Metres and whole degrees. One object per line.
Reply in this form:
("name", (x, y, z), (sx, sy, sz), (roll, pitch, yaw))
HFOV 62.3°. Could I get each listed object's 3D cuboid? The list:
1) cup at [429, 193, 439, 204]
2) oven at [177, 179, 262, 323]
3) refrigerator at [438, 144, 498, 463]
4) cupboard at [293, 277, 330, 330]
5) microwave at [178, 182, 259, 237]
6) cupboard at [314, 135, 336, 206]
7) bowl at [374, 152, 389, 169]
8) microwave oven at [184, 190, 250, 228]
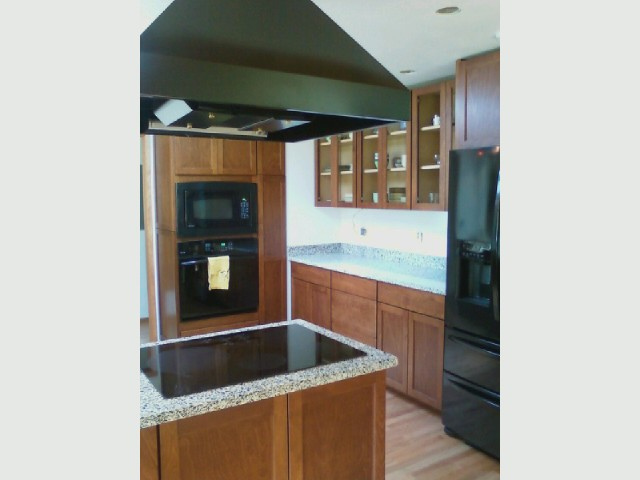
("cup", (0.719, -0.262, 3.319), (0.028, 0.066, 0.125), (-1, 5, -6))
("oven", (-0.769, 0.010, 4.038), (0.490, 1.070, 0.491), (-3, 9, -28))
("refrigerator", (0.755, 0.285, 2.653), (0.168, 1.486, 0.502), (-1, 5, -16))
("cupboard", (-0.045, 0.507, 4.319), (0.263, 0.484, 0.504), (-5, -9, -7))
("microwave", (-0.769, -0.278, 4.044), (0.597, 0.418, 0.357), (-1, 19, -7))
("cupboard", (0.081, -0.594, 4.511), (0.297, 0.604, 0.177), (-3, 10, -23))
("bowl", (0.442, -0.580, 3.826), (0.088, 0.108, 0.091), (2, 15, 0))
("microwave oven", (-0.777, -0.248, 4.025), (0.543, 0.377, 0.290), (-3, 11, -20))
